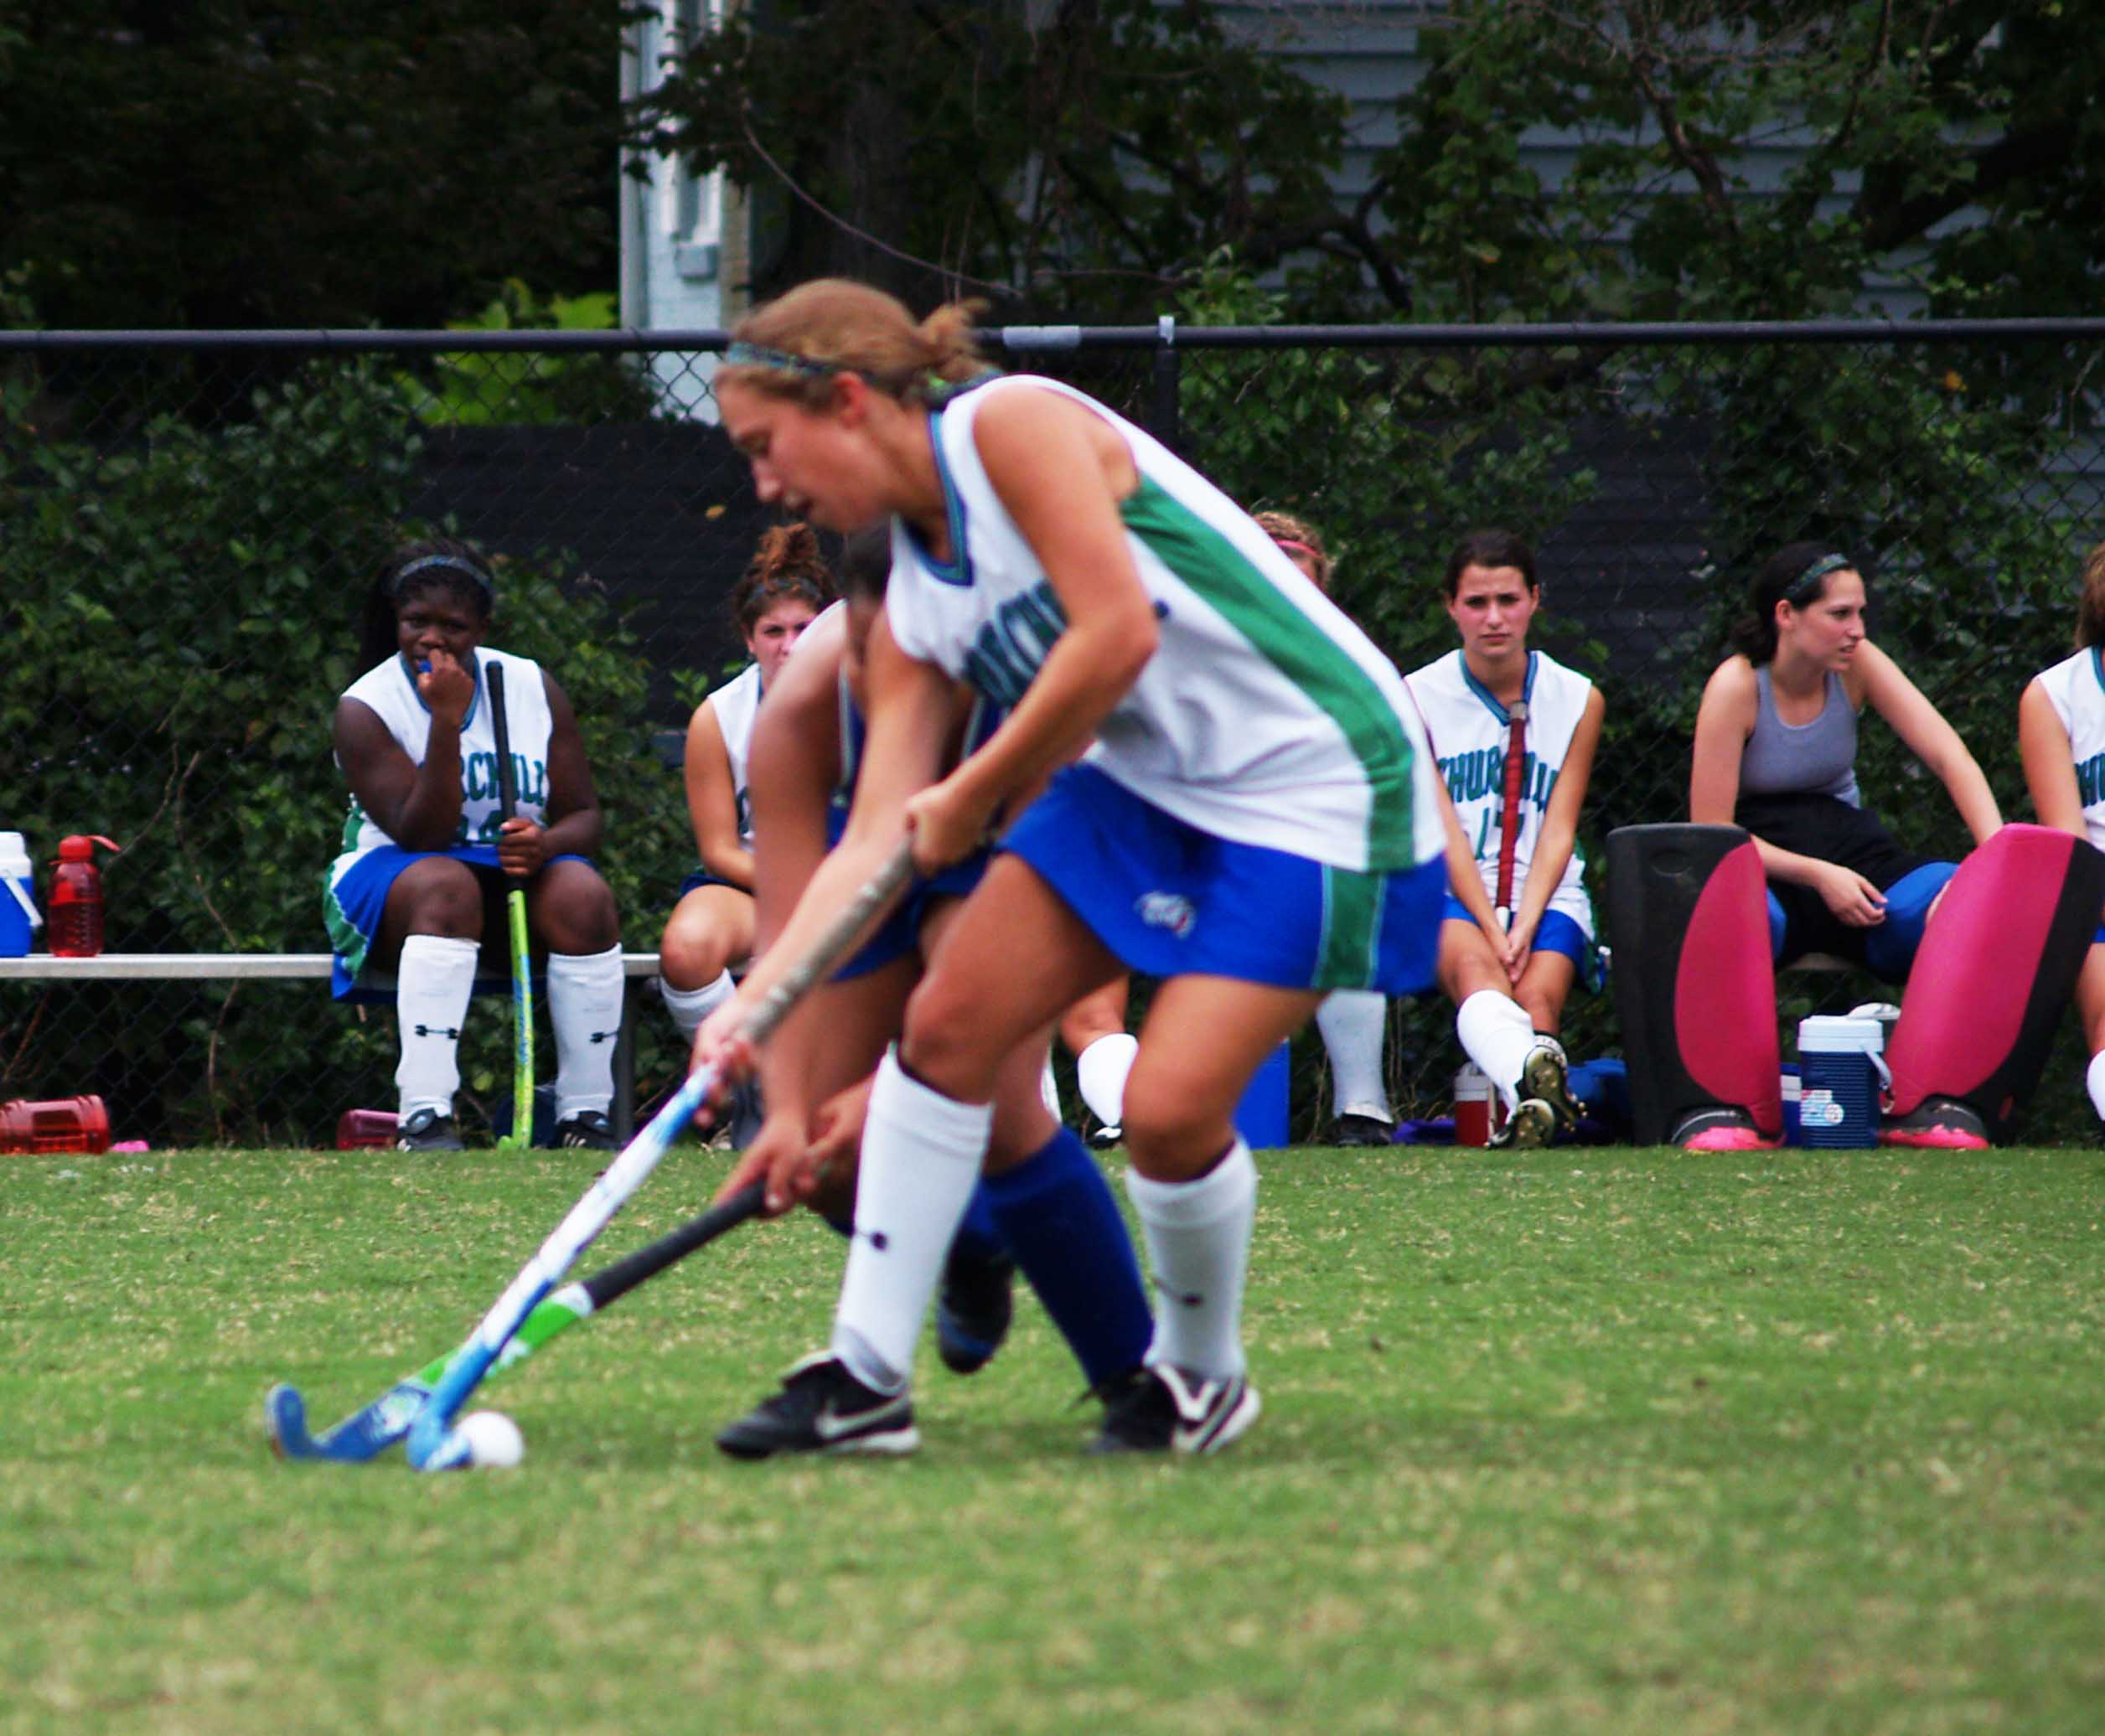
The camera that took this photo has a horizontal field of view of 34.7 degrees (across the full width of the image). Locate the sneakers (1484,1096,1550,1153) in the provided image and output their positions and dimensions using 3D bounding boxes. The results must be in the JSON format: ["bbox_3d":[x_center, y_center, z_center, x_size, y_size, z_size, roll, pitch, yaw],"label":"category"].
[{"bbox_3d":[0.970,0.535,7.061,0.116,0.109,0.097,4,-8,-9],"label":"sneakers"}]

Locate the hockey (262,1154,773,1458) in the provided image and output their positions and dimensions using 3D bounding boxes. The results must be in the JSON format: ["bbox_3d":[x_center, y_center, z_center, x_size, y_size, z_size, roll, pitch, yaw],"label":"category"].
[{"bbox_3d":[-0.817,0.685,5.219,0.606,0.049,0.124,-31,17,-27],"label":"hockey"}]

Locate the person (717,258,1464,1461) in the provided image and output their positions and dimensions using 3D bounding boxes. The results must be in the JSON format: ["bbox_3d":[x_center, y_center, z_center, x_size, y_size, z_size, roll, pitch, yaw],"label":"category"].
[{"bbox_3d":[0.018,0.010,4.566,1.009,1.479,0.374,2,0,5],"label":"person"}]

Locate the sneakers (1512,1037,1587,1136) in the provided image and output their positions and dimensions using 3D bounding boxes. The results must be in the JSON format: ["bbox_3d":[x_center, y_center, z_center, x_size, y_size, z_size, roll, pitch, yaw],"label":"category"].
[{"bbox_3d":[1.031,0.478,7.043,0.089,0.273,0.120,-8,27,-16],"label":"sneakers"}]

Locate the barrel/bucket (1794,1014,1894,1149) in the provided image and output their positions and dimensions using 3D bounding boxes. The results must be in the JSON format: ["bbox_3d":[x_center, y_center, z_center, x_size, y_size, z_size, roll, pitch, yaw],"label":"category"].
[{"bbox_3d":[1.660,0.451,7.140,0.239,0.346,0.214,1,-2,4],"label":"barrel/bucket"}]

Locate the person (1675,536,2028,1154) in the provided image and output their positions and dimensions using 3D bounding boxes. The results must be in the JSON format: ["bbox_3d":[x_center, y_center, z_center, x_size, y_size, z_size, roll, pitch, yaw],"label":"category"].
[{"bbox_3d":[1.716,-0.229,7.364,0.649,1.016,0.457,2,-1,10],"label":"person"}]

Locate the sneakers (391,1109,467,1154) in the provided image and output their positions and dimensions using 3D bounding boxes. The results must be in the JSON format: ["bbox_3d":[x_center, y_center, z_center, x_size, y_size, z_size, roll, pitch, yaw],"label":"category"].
[{"bbox_3d":[-1.302,0.554,7.118,0.122,0.085,0.077,3,-1,-1],"label":"sneakers"}]

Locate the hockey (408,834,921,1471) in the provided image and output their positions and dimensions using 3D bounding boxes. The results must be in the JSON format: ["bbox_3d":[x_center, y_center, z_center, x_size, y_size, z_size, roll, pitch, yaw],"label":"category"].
[{"bbox_3d":[-0.643,0.463,5.546,0.140,1.093,0.126,44,-11,-13],"label":"hockey"}]

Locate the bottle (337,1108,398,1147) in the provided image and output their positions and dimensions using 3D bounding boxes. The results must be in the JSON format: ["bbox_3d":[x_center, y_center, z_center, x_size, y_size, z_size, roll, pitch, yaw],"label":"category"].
[{"bbox_3d":[-1.517,0.577,7.538,0.134,0.103,0.103,0,3,-24],"label":"bottle"}]

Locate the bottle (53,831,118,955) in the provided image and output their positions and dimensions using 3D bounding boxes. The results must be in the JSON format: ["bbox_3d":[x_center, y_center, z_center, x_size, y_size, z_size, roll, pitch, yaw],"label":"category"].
[{"bbox_3d":[-2.224,0.057,7.789,0.144,0.288,0.353,2,-1,-15],"label":"bottle"}]

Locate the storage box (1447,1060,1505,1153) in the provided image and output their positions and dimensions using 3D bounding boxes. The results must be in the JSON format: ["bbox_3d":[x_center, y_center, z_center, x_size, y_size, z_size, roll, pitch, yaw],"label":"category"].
[{"bbox_3d":[0.914,0.526,7.332,0.126,0.323,0.132,-1,-1,7],"label":"storage box"}]
